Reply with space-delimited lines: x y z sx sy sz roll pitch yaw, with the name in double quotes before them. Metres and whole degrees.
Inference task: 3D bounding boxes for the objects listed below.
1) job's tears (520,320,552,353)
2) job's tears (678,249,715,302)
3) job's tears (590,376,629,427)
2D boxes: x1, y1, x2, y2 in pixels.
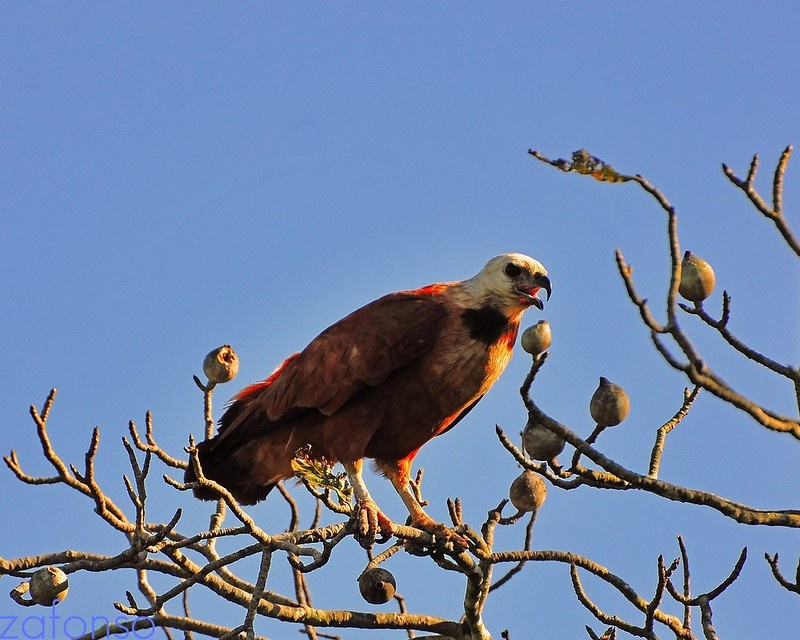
"job's tears" 0.673 0.079 9.030 0.092 0.126 0.103 10 -32 38
"job's tears" 1.497 -0.240 9.309 0.191 0.280 0.211 -9 -1 7
"job's tears" 1.088 0.419 9.509 0.205 0.304 0.201 5 -3 -43
